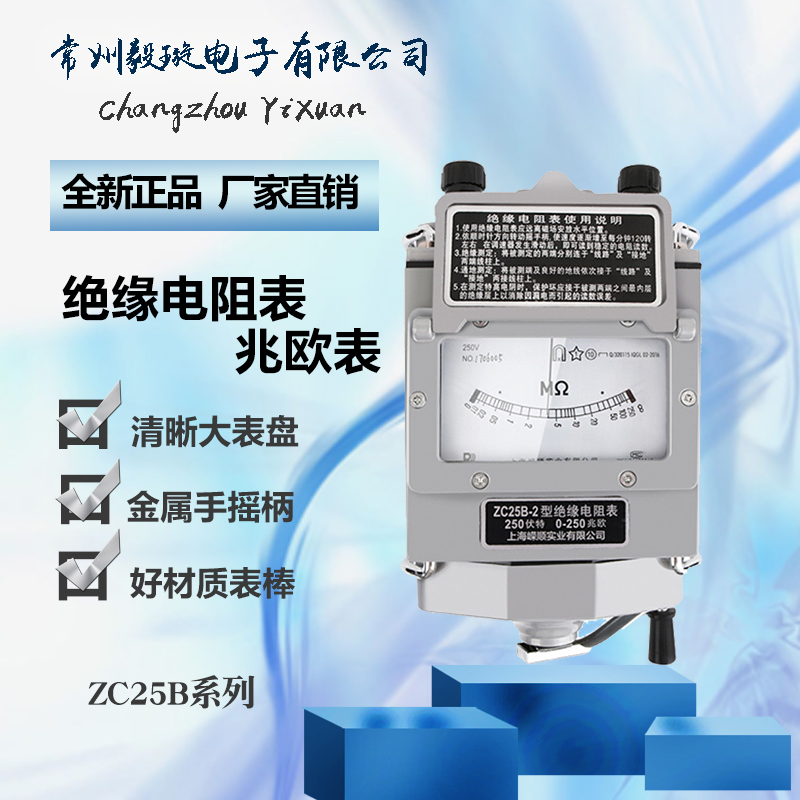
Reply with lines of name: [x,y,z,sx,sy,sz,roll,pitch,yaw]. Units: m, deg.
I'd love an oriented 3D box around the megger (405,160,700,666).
megger: [0.255,0.023,1.625,0.492,0.810,0.249,0,-13,-2]
